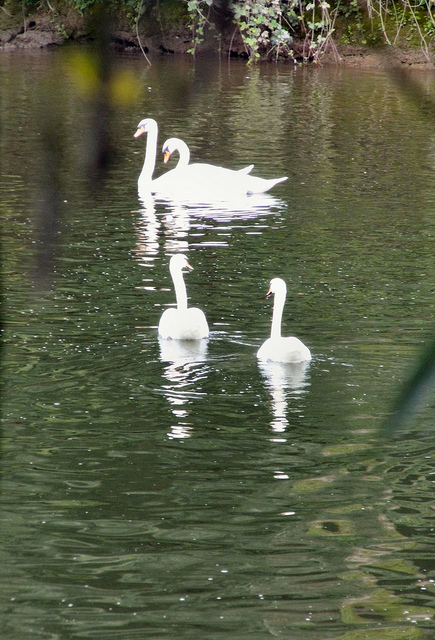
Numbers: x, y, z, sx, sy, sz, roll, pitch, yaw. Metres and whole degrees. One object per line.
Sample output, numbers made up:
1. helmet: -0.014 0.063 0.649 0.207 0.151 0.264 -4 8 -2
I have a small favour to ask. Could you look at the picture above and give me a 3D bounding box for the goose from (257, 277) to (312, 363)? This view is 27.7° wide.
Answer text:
1. goose: 0.622 0.015 7.607 0.444 0.804 0.735 2 -3 -33
